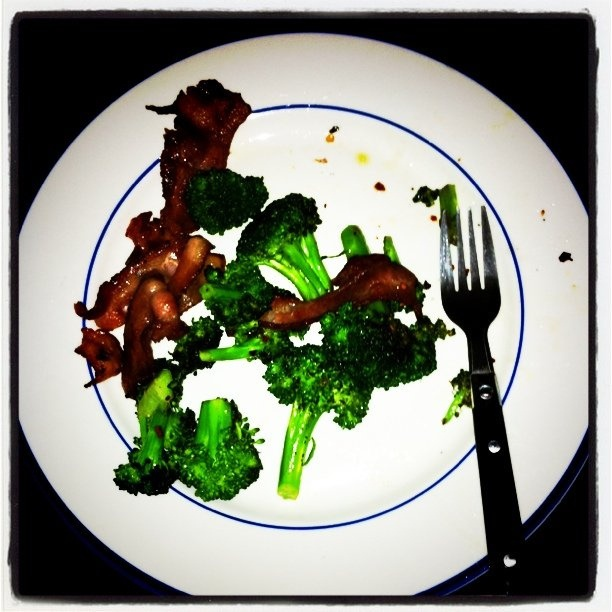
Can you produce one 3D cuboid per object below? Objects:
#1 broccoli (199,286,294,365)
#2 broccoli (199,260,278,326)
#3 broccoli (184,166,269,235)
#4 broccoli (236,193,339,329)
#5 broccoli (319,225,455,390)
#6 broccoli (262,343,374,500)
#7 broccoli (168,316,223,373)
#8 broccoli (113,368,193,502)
[{"bbox_3d":[-0.223,0.107,2.291,0.194,0.057,0.129,-26,79,-1],"label":"broccoli"},{"bbox_3d":[-0.209,-0.040,2.272,0.208,0.047,0.181,-17,83,-6],"label":"broccoli"},{"bbox_3d":[-0.245,-0.322,2.329,0.256,0.060,0.191,2,81,-3],"label":"broccoli"},{"bbox_3d":[-0.027,-0.193,2.415,0.335,0.286,0.310,45,111,8],"label":"broccoli"},{"bbox_3d":[0.235,0.051,2.294,0.291,0.109,0.515,-4,85,-10],"label":"broccoli"},{"bbox_3d":[0.012,0.335,2.380,0.359,0.133,0.591,4,117,-22],"label":"broccoli"},{"bbox_3d":[-0.339,0.132,2.341,0.127,0.068,0.196,32,81,2],"label":"broccoli"},{"bbox_3d":[-0.491,0.403,2.386,0.220,0.159,0.426,6,86,-41],"label":"broccoli"}]
